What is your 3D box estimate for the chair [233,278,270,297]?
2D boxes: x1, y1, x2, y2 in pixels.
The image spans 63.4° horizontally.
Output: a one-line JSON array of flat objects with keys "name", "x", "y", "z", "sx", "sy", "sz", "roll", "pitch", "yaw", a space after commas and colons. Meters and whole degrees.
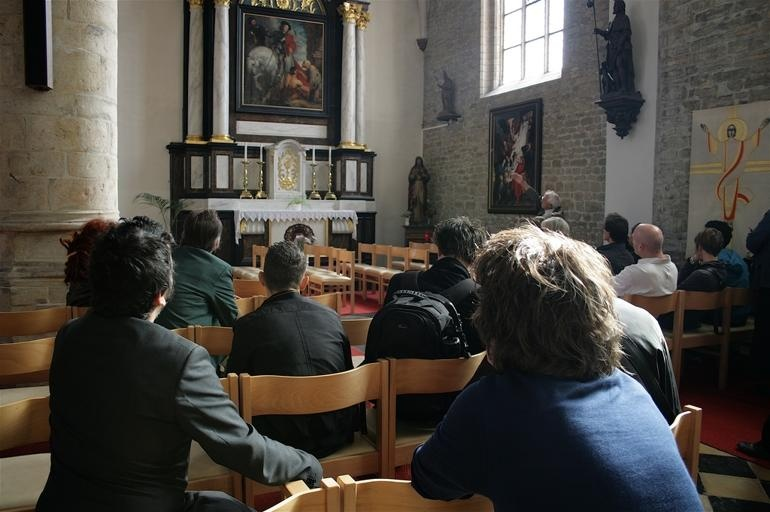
[{"name": "chair", "x": -1.112, "y": 0.266, "z": 5.166, "sx": 0.205, "sy": 0.130, "sz": 0.201, "roll": 2, "pitch": 2, "yaw": 0}]

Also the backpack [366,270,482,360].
[{"name": "backpack", "x": 0.249, "y": 0.355, "z": 3.582, "sx": 0.420, "sy": 0.536, "sz": 0.500, "roll": -3, "pitch": -7, "yaw": 35}]

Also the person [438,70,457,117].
[{"name": "person", "x": 1.230, "y": -3.265, "z": 12.600, "sx": 0.320, "sy": 1.046, "sz": 0.791, "roll": -1, "pitch": 6, "yaw": -12}]

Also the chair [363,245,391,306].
[{"name": "chair", "x": -0.123, "y": 0.275, "z": 9.113, "sx": 0.287, "sy": 0.563, "sz": 0.913, "roll": 0, "pitch": 4, "yaw": -16}]

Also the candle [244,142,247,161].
[{"name": "candle", "x": -2.648, "y": -1.981, "z": 11.867, "sx": 0.068, "sy": 0.310, "sz": 0.360, "roll": -1, "pitch": 6, "yaw": -14}]

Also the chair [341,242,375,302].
[{"name": "chair", "x": -0.425, "y": 0.259, "z": 9.608, "sx": 0.299, "sy": 0.631, "sz": 0.868, "roll": -1, "pitch": 9, "yaw": -10}]

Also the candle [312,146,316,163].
[{"name": "candle", "x": -1.415, "y": -2.012, "z": 12.419, "sx": 0.075, "sy": 0.317, "sz": 0.252, "roll": 0, "pitch": 6, "yaw": -5}]

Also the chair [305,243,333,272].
[{"name": "chair", "x": -1.017, "y": 0.010, "z": 9.535, "sx": 0.409, "sy": 0.531, "sz": 0.320, "roll": 6, "pitch": 9, "yaw": 34}]

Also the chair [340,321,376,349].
[{"name": "chair", "x": -0.162, "y": 0.505, "z": 4.137, "sx": 0.180, "sy": 0.134, "sz": 0.184, "roll": 1, "pitch": 1, "yaw": 12}]
